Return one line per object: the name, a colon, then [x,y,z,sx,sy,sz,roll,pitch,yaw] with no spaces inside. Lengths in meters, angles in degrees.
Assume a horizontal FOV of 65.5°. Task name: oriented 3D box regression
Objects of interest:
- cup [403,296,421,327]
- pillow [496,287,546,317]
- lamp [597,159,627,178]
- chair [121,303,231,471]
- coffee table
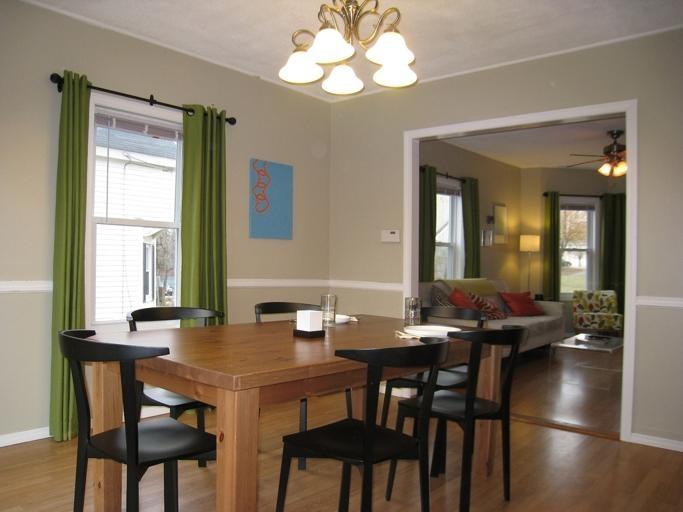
cup: [0.441,0.350,3.370,0.141,0.263,0.142,-1,2,0]
pillow: [2.462,0.639,7.089,0.386,0.123,0.400,5,24,-15]
lamp: [3.442,-1.097,6.726,0.277,0.201,0.425,-3,-2,33]
chair: [-1.112,0.786,3.393,0.651,0.890,0.722,7,0,-16]
coffee table: [2.728,1.147,5.929,0.703,0.583,1.263,-3,-2,21]
